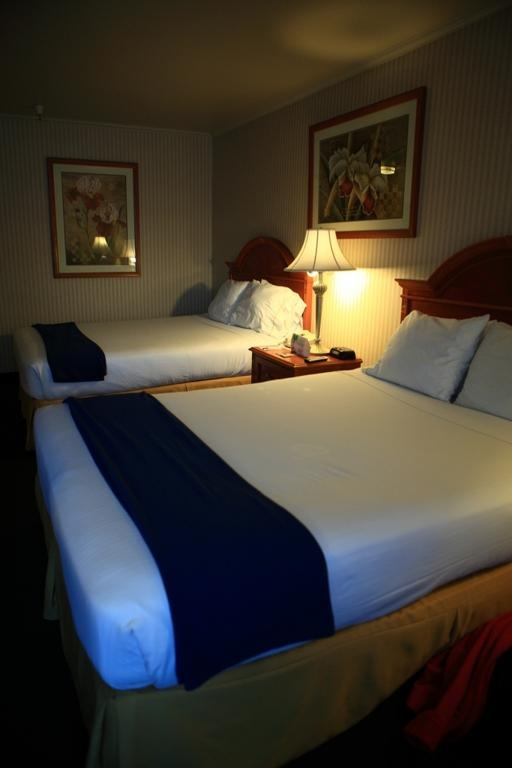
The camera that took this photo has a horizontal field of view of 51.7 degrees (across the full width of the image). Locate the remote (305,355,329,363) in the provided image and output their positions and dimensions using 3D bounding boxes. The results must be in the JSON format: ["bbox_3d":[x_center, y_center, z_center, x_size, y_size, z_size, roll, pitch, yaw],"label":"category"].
[{"bbox_3d":[0.390,-0.159,3.417,0.103,0.024,0.065,-2,10,-6],"label":"remote"}]

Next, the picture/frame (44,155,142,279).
[{"bbox_3d":[-1.700,-1.750,5.364,1.069,1.524,0.055,-8,20,-25],"label":"picture/frame"}]
